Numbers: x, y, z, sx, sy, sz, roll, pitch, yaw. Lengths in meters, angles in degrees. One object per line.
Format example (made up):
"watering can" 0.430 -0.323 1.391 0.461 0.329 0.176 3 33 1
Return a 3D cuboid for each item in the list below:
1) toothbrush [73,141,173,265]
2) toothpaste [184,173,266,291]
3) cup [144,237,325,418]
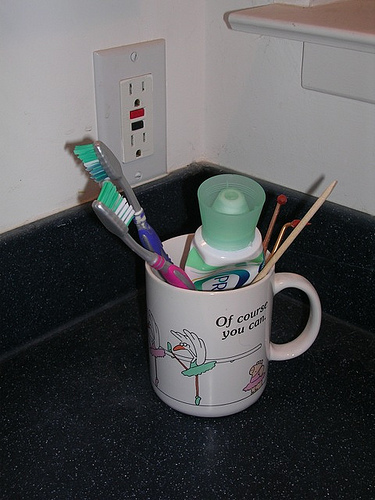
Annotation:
"toothbrush" -0.057 -0.032 0.403 0.035 0.143 0.024 -19 30 10
"toothpaste" 0.035 -0.011 0.365 0.059 0.084 0.067 11 35 18
"cup" 0.051 0.071 0.408 0.165 0.119 0.106 -4 15 -13
